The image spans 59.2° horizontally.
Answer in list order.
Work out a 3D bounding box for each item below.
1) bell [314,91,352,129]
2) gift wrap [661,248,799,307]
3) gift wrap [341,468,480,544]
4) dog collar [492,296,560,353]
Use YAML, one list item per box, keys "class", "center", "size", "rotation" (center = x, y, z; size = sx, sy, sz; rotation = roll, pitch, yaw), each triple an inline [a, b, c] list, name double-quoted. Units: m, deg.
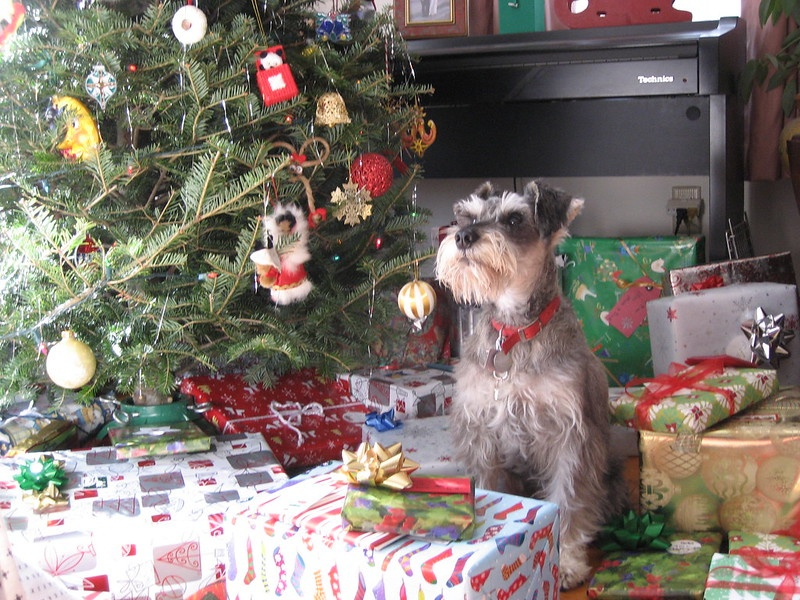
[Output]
- class: "bell"
  center: [-0.185, -0.511, 1.906]
  size: [0.086, 0.093, 0.092]
  rotation: [-3, 12, -3]
- class: "gift wrap"
  center: [1.046, -0.084, 2.205]
  size: [0.238, 0.068, 0.238]
  rotation: [3, 27, 12]
- class: "gift wrap"
  center: [0.025, 0.371, 1.311]
  size: [0.148, 0.055, 0.128]
  rotation: [1, 10, 9]
- class: "dog collar"
  center: [0.297, 0.046, 1.673]
  size: [0.134, 0.033, 0.104]
  rotation: [-39, 11, 2]
